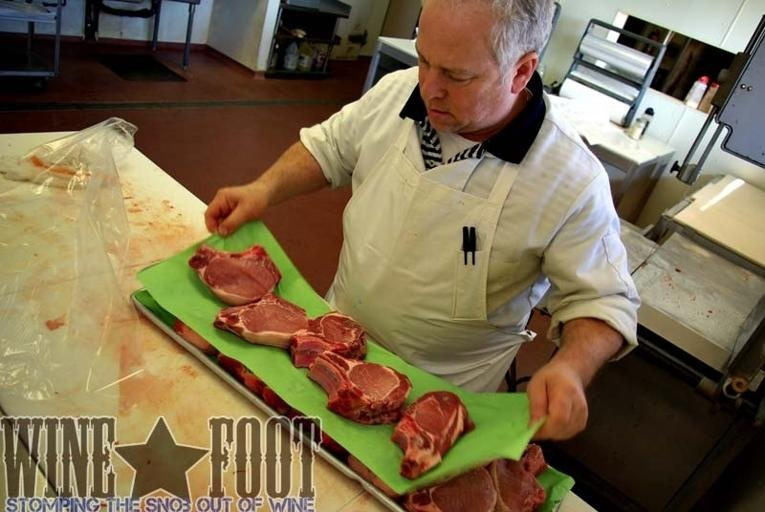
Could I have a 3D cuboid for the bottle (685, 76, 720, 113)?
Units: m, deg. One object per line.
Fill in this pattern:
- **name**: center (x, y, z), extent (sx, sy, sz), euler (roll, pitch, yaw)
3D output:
- **bottle**: center (2.869, -1.466, 4.632), extent (0.216, 0.280, 0.138), euler (27, 28, 22)
